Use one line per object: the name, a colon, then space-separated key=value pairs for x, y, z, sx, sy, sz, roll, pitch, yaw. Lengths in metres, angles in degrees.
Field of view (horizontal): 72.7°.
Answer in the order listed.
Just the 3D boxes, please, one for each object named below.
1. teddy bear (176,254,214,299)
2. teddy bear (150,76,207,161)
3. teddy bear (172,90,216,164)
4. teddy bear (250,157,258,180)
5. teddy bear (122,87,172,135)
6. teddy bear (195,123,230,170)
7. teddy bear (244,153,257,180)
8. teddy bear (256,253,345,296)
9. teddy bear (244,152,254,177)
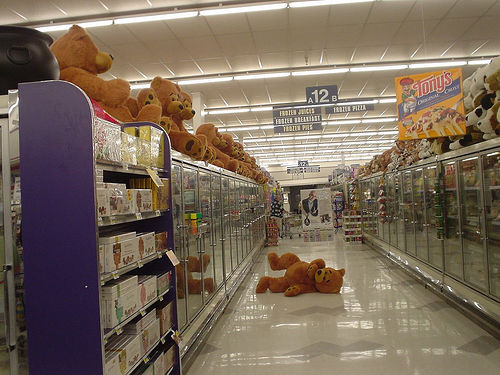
teddy bear: x=-0.725 y=1.126 z=4.264 sx=0.492 sy=0.553 sz=0.524 roll=2 pitch=-2 yaw=1
teddy bear: x=-0.917 y=-0.939 z=4.881 sx=0.691 sy=1.124 sz=0.777 roll=-1 pitch=5 yaw=-5
teddy bear: x=-0.904 y=-0.958 z=5.097 sx=0.642 sy=1.058 sz=0.743 roll=7 pitch=1 yaw=-10
teddy bear: x=0.148 y=-0.643 z=11.116 sx=0.211 sy=0.638 sz=0.443 roll=-7 pitch=3 yaw=-7
teddy bear: x=-1.219 y=-1.006 z=4.266 sx=0.576 sy=0.557 sz=0.546 roll=-3 pitch=0 yaw=-44
teddy bear: x=-0.725 y=-0.798 z=6.761 sx=0.731 sy=1.142 sz=0.850 roll=0 pitch=2 yaw=-10
teddy bear: x=-0.073 y=-0.652 z=10.399 sx=0.226 sy=0.667 sz=0.488 roll=-17 pitch=-2 yaw=9
teddy bear: x=0.938 y=1.623 z=6.444 sx=1.542 sy=0.746 sz=0.805 roll=-3 pitch=0 yaw=21
teddy bear: x=-0.024 y=-0.666 z=10.105 sx=0.200 sy=0.597 sz=0.442 roll=-11 pitch=-5 yaw=4
